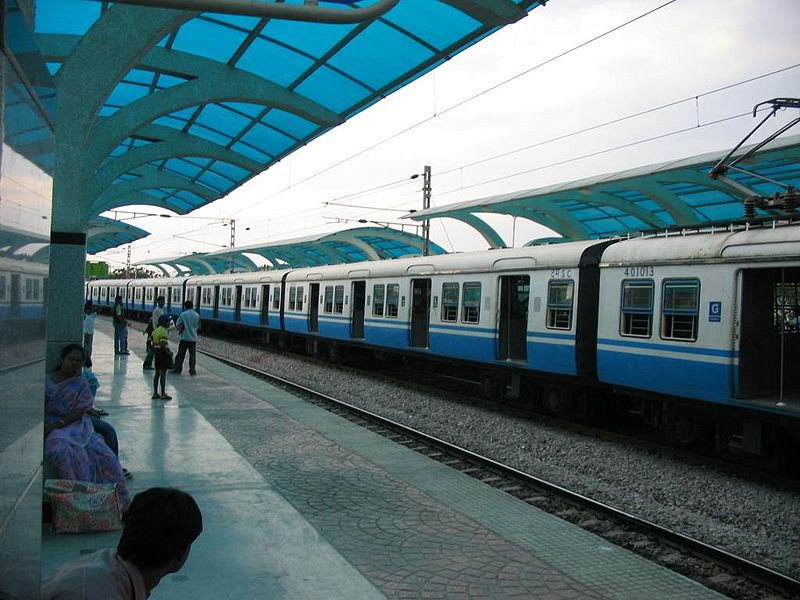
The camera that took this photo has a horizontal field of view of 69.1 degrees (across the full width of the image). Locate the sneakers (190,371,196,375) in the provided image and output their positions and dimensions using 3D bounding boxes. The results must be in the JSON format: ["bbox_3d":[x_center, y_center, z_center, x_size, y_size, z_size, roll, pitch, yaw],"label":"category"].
[{"bbox_3d":[-5.718,2.021,16.129,0.165,0.082,0.078,-3,-9,14],"label":"sneakers"}]

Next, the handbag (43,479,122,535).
[{"bbox_3d":[-2.907,1.903,5.343,0.812,0.391,0.604,4,-7,-27],"label":"handbag"}]
